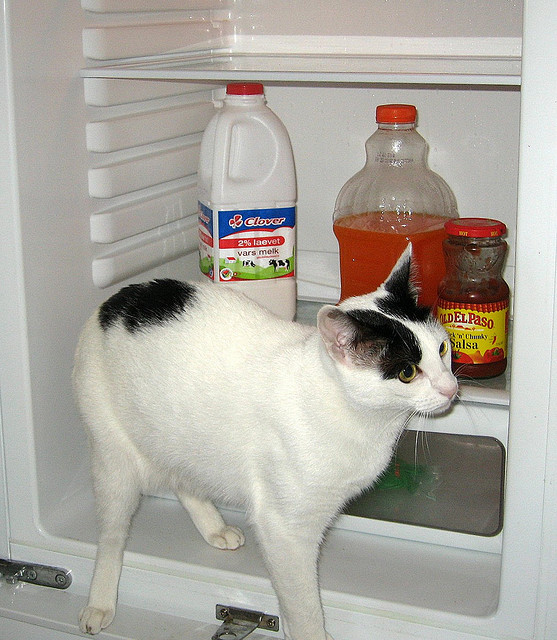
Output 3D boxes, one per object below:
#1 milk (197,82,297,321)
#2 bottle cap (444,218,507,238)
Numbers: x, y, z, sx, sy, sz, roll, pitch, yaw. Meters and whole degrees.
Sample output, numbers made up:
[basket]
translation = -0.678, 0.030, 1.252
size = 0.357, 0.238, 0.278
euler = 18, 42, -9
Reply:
[milk]
translation = -0.064, -0.196, 1.077
size = 0.193, 0.359, 0.162
euler = -4, 17, -11
[bottle cap]
translation = 0.268, -0.124, 0.878
size = 0.064, 0.020, 0.057
euler = -3, 14, -13
